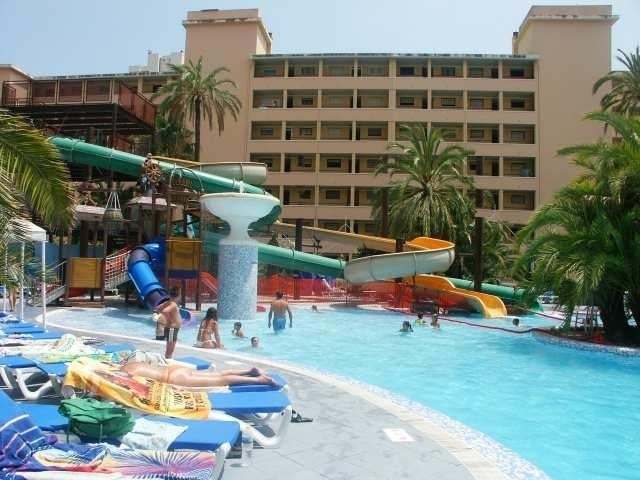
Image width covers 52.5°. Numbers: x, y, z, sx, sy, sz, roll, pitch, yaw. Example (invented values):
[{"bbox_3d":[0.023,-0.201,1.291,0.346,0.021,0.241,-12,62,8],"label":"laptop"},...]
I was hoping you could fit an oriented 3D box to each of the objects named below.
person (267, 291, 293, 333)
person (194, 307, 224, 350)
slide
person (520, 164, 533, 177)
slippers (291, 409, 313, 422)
[{"bbox_3d":[-1.078,2.166,17.637,0.677,1.490,0.374,2,2,-13],"label":"person"},{"bbox_3d":[-2.579,2.082,15.290,0.835,0.810,0.526,12,13,40],"label":"person"},{"bbox_3d":[-0.643,-0.355,24.293,16.668,3.702,5.466,3,-2,-14],"label":"slide"},{"bbox_3d":[13.764,-4.643,43.143,1.062,1.015,0.615,0,-3,16],"label":"person"},{"bbox_3d":[-0.291,2.592,9.541,0.263,0.105,0.355,2,2,13],"label":"slippers"}]
